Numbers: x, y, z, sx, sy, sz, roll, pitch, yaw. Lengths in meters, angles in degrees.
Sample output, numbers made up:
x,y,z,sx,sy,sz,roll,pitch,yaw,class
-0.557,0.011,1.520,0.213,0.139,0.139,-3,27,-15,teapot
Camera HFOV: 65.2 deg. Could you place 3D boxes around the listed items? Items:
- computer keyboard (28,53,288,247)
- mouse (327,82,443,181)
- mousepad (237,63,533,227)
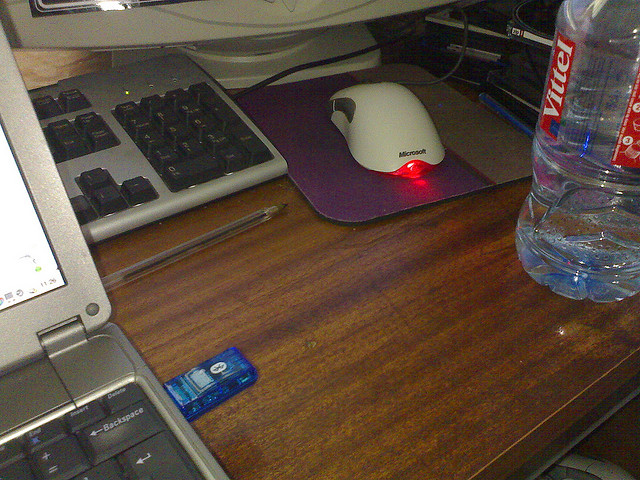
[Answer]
x,y,z,sx,sy,sz,roll,pitch,yaw,class
-0.197,-0.109,0.544,0.296,0.032,0.224,-22,58,-26,computer keyboard
0.085,-0.156,0.598,0.139,0.056,0.147,-8,59,-1,mouse
0.096,-0.128,0.706,0.464,0.183,0.406,-2,27,-10,mousepad
